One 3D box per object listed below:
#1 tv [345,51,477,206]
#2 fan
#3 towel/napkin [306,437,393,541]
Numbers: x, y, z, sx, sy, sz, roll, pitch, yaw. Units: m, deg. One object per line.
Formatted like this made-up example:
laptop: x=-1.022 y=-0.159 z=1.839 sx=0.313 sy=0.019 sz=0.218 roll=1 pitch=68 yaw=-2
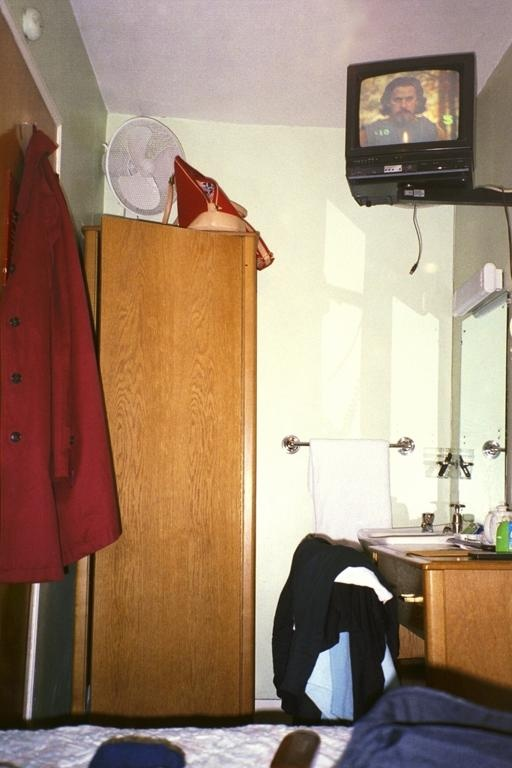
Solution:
tv: x=0.462 y=-0.777 z=2.477 sx=0.557 sy=0.577 sz=0.411 roll=-1 pitch=-4 yaw=13
fan: x=-0.508 y=-0.821 z=2.798 sx=0.351 sy=0.478 sz=0.262 roll=-10 pitch=27 yaw=-41
towel/napkin: x=0.378 y=0.428 z=2.849 sx=0.323 sy=0.401 sz=0.100 roll=-1 pitch=-6 yaw=7
